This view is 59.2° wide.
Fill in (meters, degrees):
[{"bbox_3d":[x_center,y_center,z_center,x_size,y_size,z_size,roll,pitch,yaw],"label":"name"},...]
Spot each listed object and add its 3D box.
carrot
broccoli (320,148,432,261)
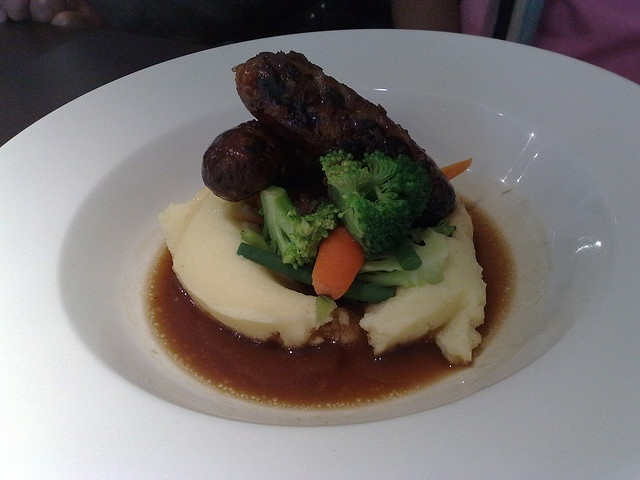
[{"bbox_3d":[0.088,0.087,2.283,0.146,0.108,0.300,26,76,6],"label":"carrot"},{"bbox_3d":[0.226,-0.165,2.052,0.415,0.195,0.421,-6,86,-4],"label":"broccoli"}]
